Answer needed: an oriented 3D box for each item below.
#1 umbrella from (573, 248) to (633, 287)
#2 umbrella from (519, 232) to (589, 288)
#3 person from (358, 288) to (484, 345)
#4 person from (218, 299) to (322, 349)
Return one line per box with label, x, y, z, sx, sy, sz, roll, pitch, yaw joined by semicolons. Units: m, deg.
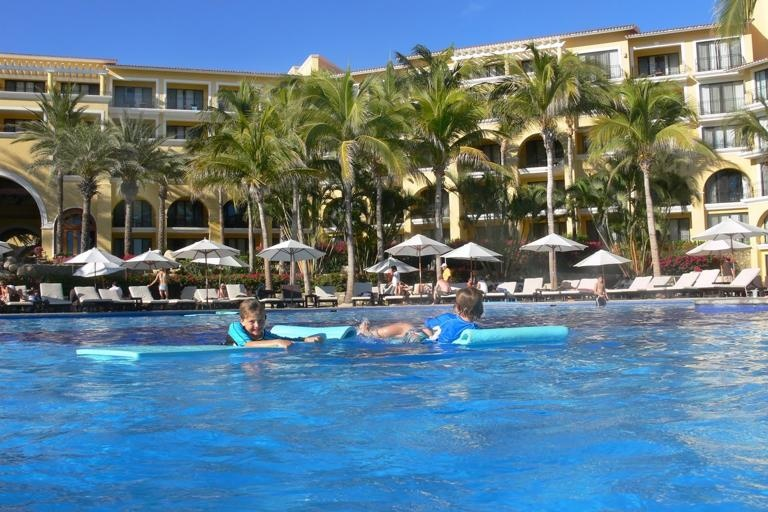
umbrella;8.827;0.438;36.782;1.968;1.534;1.994;-8;11;-7
umbrella;7.277;-0.019;38.989;2.777;2.342;2.628;1;-4;-30
person;1.030;1.440;22.156;2.747;1.118;0.534;-2;-1;21
person;-2.928;1.602;21.823;1.738;0.925;1.273;-3;-2;32
